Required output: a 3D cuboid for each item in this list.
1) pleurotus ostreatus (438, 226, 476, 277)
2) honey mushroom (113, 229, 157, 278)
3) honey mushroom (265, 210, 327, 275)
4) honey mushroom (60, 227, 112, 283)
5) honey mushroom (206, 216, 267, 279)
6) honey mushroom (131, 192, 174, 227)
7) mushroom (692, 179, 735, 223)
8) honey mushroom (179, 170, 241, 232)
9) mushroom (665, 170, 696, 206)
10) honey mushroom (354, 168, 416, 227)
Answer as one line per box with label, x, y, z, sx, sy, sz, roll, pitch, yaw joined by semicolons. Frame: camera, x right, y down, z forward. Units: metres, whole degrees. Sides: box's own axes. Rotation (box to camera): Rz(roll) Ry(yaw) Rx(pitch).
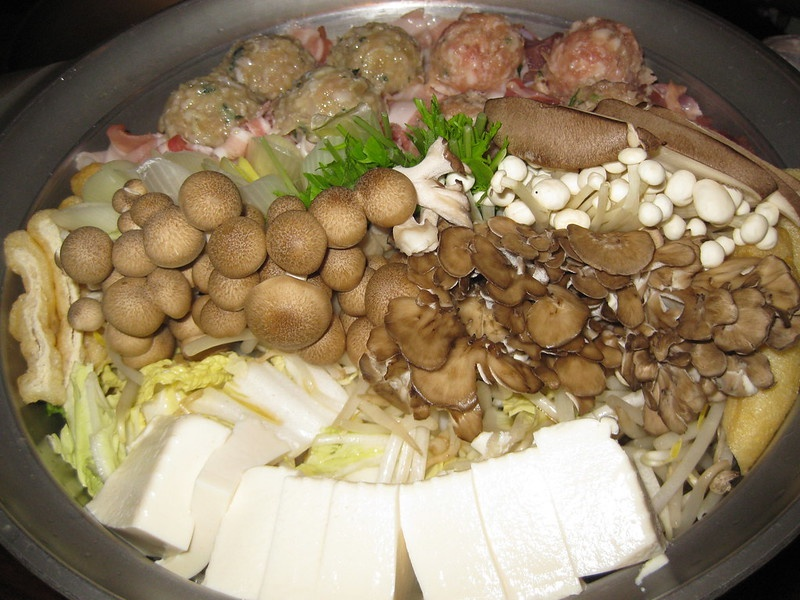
pleurotus ostreatus;0.177;-0.149;2.148;0.110;0.087;0.174;1;82;2
honey mushroom;-0.917;-0.157;2.380;0.139;0.089;0.164;-17;82;-1
honey mushroom;-0.329;-0.184;2.268;0.190;0.121;0.204;-36;83;-3
honey mushroom;-1.079;-0.152;2.472;0.187;0.044;0.188;14;91;3
honey mushroom;-0.529;-0.171;2.303;0.206;0.101;0.179;-36;83;-3
honey mushroom;-0.860;-0.323;2.415;0.129;0.036;0.131;14;59;8
mushroom;0.997;-0.309;2.252;0.107;0.080;0.145;-27;83;4
honey mushroom;-0.646;-0.323;2.404;0.199;0.190;0.196;-12;73;-29
mushroom;0.909;-0.362;2.241;0.081;0.060;0.111;26;97;18
honey mushroom;-0.035;-0.337;2.271;0.181;0.088;0.203;-22;82;-1
